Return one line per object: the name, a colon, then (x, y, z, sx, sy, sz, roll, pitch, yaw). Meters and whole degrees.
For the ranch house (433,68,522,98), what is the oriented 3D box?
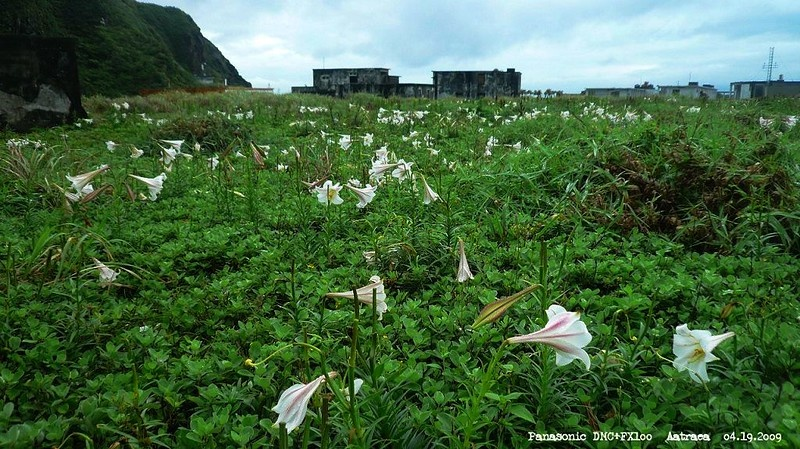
ranch house: (6.009, -11.152, 43.110, 6.686, 1.929, 2.780, -2, 20, 0)

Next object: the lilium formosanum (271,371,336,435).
lilium formosanum: (-0.850, 1.497, 4.601, 0.678, 0.212, 0.343, -36, 76, -29)
